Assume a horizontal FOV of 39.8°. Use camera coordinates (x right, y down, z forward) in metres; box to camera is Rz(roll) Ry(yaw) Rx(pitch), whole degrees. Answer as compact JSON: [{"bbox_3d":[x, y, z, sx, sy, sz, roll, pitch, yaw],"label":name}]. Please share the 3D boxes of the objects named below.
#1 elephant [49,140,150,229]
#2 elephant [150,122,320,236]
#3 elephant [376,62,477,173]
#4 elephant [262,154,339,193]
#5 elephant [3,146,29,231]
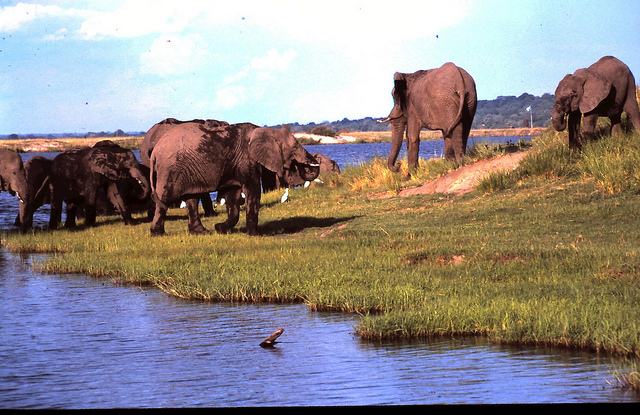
[{"bbox_3d":[-6.435,-0.678,25.565,3.039,2.526,1.482,-7,3,-5],"label":"elephant"},{"bbox_3d":[-2.384,-0.842,24.154,4.418,2.895,5.013,-1,4,-11],"label":"elephant"},{"bbox_3d":[3.605,-2.880,28.617,1.396,3.423,4.411,-2,4,-24],"label":"elephant"},{"bbox_3d":[-0.687,-1.195,25.511,1.708,1.046,0.856,13,3,40],"label":"elephant"},{"bbox_3d":[-8.621,-0.492,25.053,0.692,2.279,0.853,-1,3,-20],"label":"elephant"}]
